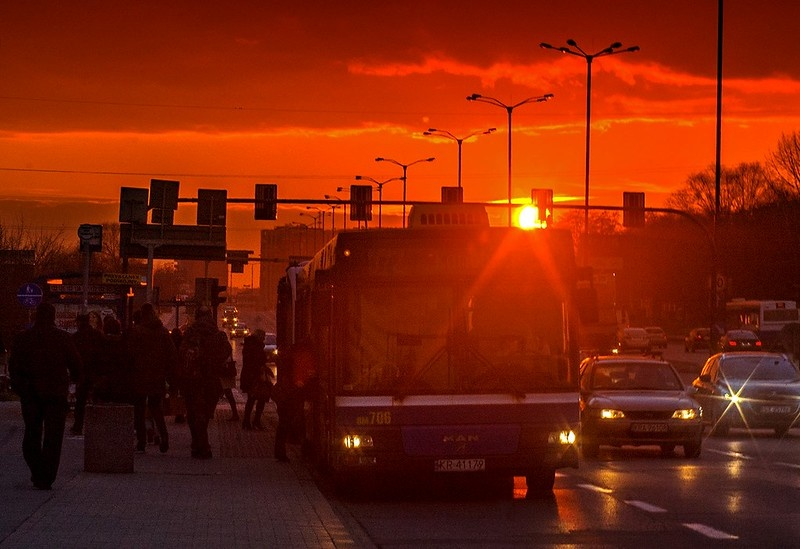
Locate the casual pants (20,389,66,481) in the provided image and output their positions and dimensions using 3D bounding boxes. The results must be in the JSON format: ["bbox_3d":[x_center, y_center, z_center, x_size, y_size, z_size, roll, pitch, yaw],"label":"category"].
[{"bbox_3d":[-4.767,2.234,13.803,0.561,0.898,0.496,2,-1,-39],"label":"casual pants"}]

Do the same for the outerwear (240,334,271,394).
[{"bbox_3d":[-3.467,2.043,24.350,0.683,1.534,0.563,14,14,34],"label":"outerwear"}]

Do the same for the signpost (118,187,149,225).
[{"bbox_3d":[-7.760,-2.023,30.053,0.754,0.677,0.891,1,-1,-19],"label":"signpost"}]

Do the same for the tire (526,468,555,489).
[{"bbox_3d":[2.075,3.029,15.193,0.454,0.361,0.461,0,-1,13],"label":"tire"}]

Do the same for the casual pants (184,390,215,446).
[{"bbox_3d":[-3.516,2.553,18.108,0.498,1.040,0.428,1,-1,-18],"label":"casual pants"}]

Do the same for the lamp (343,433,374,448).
[{"bbox_3d":[-0.588,2.280,14.292,0.283,0.115,0.214,-1,0,39],"label":"lamp"}]

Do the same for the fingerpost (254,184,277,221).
[{"bbox_3d":[-6.168,-3.378,47.299,1.017,1.744,2.477,1,-1,-9],"label":"fingerpost"}]

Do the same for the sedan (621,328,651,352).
[{"bbox_3d":[17.463,4.955,76.631,1.759,1.824,4.286,1,-1,16],"label":"sedan"}]

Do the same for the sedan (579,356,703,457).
[{"bbox_3d":[4.558,2.618,19.992,2.004,1.861,2.408,2,-1,-37],"label":"sedan"}]

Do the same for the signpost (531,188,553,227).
[{"bbox_3d":[6.895,-3.358,51.423,0.371,1.516,0.781,13,5,34],"label":"signpost"}]

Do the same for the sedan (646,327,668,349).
[{"bbox_3d":[22.147,5.729,88.934,1.767,1.580,4.106,1,5,6],"label":"sedan"}]

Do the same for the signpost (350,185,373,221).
[{"bbox_3d":[-1.905,-3.538,50.229,1.114,1.792,0.157,0,-8,2],"label":"signpost"}]

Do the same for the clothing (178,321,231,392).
[{"bbox_3d":[-3.623,1.612,18.484,0.979,1.442,0.791,-3,-26,1],"label":"clothing"}]
